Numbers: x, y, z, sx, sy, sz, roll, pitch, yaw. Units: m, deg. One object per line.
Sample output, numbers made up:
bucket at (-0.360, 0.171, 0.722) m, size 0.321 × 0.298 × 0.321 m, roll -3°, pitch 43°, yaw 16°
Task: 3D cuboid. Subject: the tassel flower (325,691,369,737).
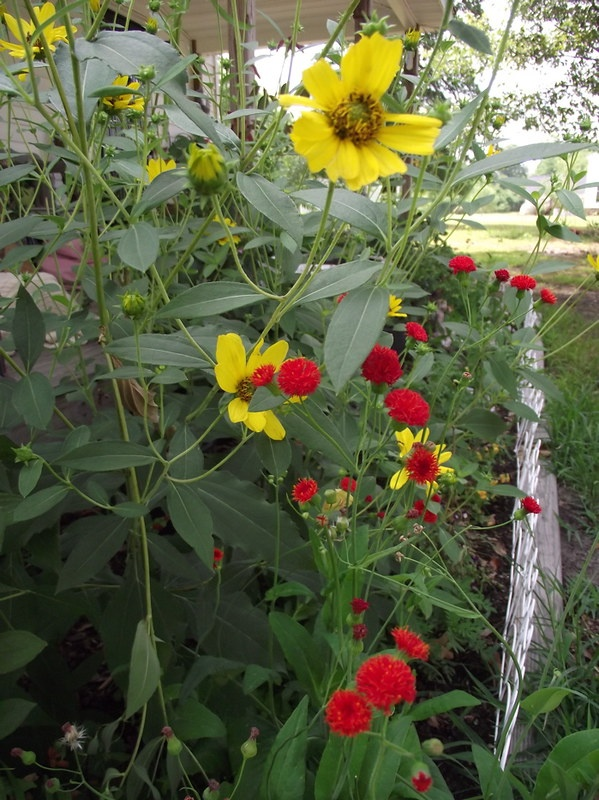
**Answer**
tassel flower at (0.047, 0.295, 0.552) m, size 0.045 × 0.018 × 0.043 m, roll -2°, pitch 35°, yaw 0°
